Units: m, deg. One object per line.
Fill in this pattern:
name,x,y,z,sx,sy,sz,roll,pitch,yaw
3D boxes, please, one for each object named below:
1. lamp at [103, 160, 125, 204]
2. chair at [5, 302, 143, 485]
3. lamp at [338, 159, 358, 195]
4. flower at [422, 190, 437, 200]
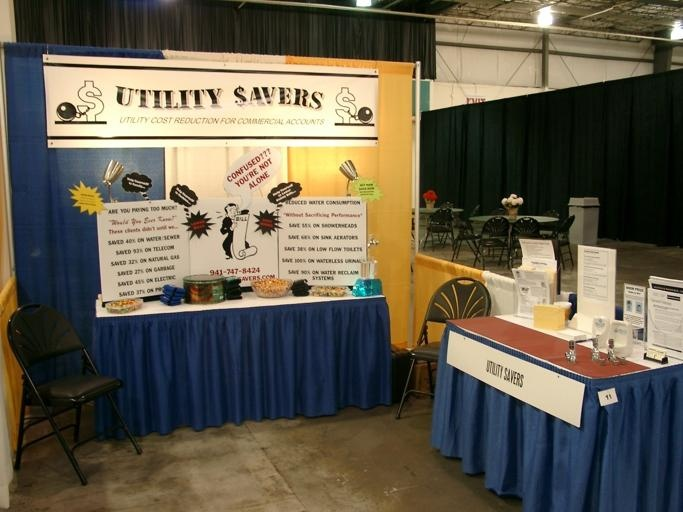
lamp,-1.878,-0.606,4.814,0.165,0.360,0.485,-5,14,-21
chair,-2.193,0.847,4.416,0.791,1.105,1.715,-11,17,-40
lamp,0.071,-0.704,5.344,0.174,0.335,0.414,0,13,0
flower,1.814,-1.207,11.915,0.207,0.233,0.451,1,13,4
